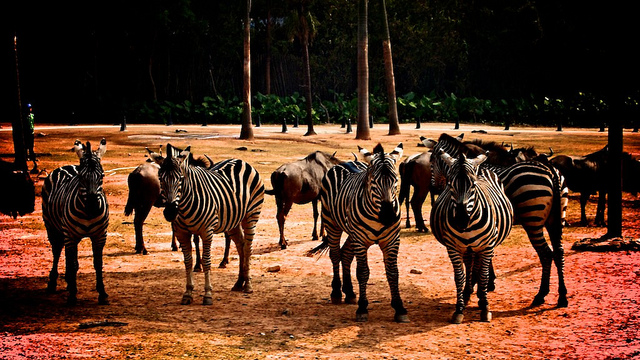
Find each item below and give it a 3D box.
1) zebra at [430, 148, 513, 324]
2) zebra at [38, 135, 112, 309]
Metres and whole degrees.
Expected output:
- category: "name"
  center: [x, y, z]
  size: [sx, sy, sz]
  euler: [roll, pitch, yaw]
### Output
- category: "zebra"
  center: [4.305, 1.603, 19.843]
  size: [1.926, 4.754, 1.015]
  euler: [-4, 6, -17]
- category: "zebra"
  center: [-7.242, 1.216, 20.961]
  size: [1.894, 4.777, 2.766]
  euler: [-6, 7, -35]
